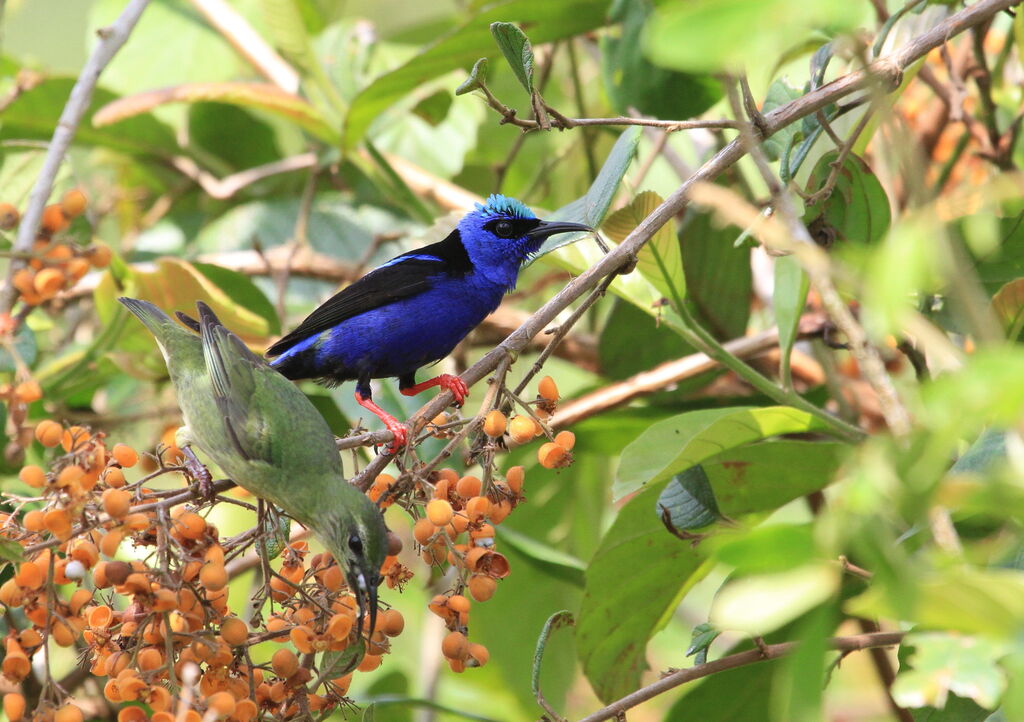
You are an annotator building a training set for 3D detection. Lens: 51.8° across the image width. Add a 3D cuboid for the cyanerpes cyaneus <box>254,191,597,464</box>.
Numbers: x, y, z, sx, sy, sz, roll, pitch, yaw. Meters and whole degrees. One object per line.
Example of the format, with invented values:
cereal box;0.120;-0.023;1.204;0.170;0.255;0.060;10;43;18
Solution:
cyanerpes cyaneus;-0.467;-0.191;4.358;1.225;0.973;0.541;2;2;10
